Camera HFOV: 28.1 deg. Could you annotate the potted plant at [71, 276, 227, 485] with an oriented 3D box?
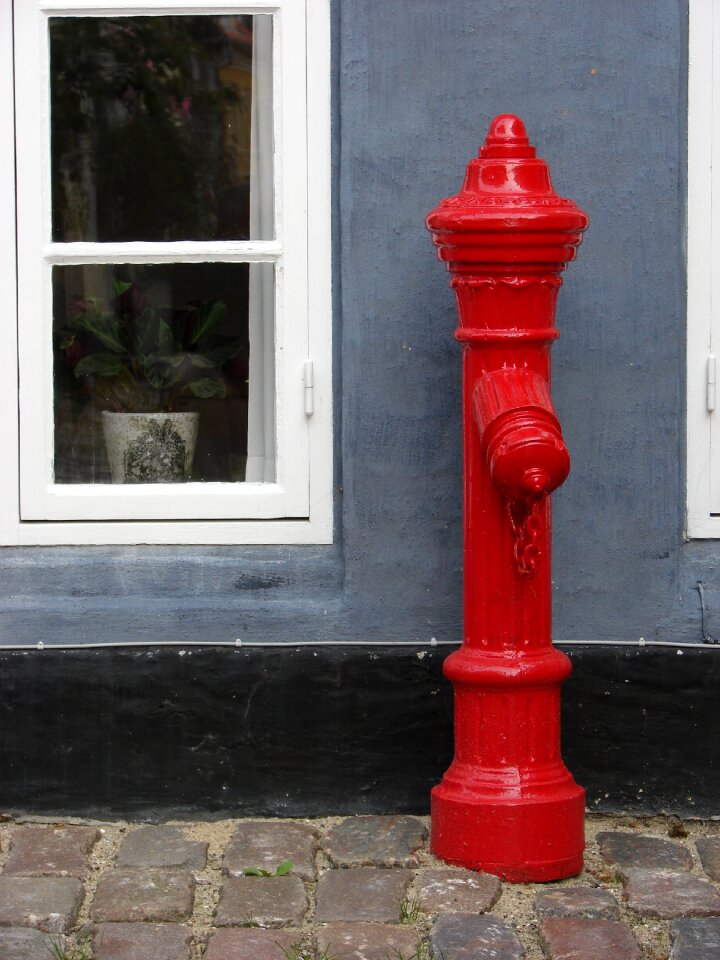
[{"bbox_3d":[-0.583,-0.252,4.029,0.571,0.557,0.502,-1,1,12],"label":"potted plant"}]
